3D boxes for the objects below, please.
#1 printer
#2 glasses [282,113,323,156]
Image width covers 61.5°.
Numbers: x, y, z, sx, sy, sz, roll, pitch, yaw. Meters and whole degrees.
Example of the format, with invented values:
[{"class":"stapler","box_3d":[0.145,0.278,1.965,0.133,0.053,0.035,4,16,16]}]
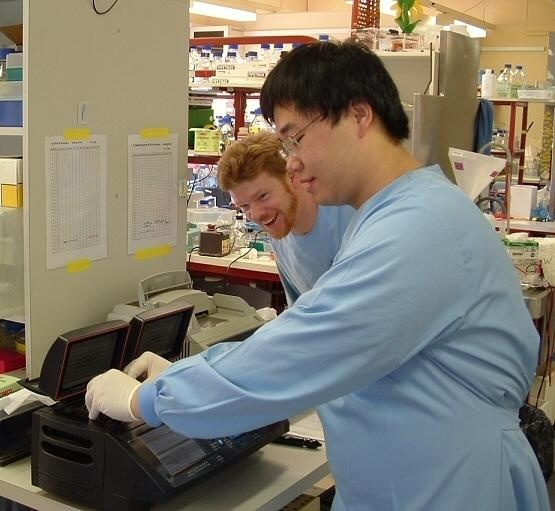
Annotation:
[{"class":"printer","box_3d":[-0.295,0.247,1.796,0.468,0.280,0.466,-2,5,-41]},{"class":"glasses","box_3d":[0.043,-0.212,0.807,0.058,0.017,0.055,-45,-1,-1]}]
